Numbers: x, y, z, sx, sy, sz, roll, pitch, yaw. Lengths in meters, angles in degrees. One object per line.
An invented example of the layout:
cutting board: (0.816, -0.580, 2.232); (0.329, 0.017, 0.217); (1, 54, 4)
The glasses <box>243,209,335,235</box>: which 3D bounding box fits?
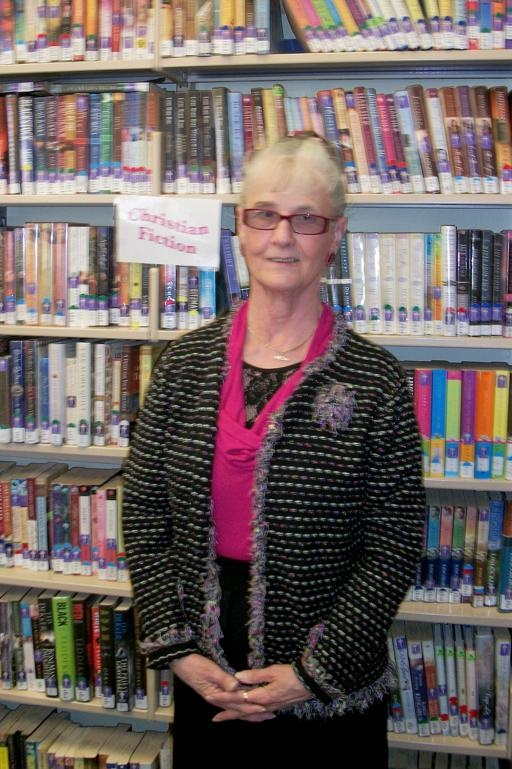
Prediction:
glasses: (0.049, -0.277, 1.272); (0.146, 0.052, 0.040); (-1, 1, 3)
